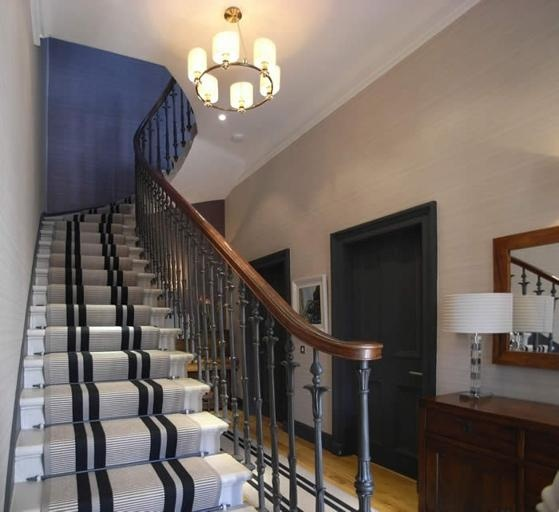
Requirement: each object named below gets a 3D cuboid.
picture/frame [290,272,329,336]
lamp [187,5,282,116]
[{"bbox_3d":[0.301,0.423,4.159,0.038,0.620,0.515,0,-4,-29],"label":"picture/frame"},{"bbox_3d":[-0.367,-1.556,3.537,0.706,0.803,0.760,1,-20,-8],"label":"lamp"}]
